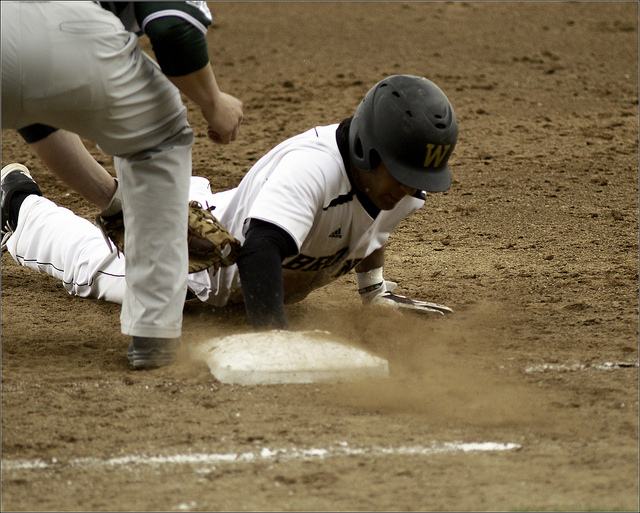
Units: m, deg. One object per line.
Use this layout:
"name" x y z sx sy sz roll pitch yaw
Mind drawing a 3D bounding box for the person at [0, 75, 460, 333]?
"person" -0.392 -0.267 6.407 1.971 0.805 1.382 2 -3 26

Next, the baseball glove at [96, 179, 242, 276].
"baseball glove" -0.681 -0.113 6.236 0.473 0.167 0.559 -11 43 -39

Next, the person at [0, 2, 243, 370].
"person" -0.995 -0.373 5.922 0.983 1.765 0.855 14 35 17
